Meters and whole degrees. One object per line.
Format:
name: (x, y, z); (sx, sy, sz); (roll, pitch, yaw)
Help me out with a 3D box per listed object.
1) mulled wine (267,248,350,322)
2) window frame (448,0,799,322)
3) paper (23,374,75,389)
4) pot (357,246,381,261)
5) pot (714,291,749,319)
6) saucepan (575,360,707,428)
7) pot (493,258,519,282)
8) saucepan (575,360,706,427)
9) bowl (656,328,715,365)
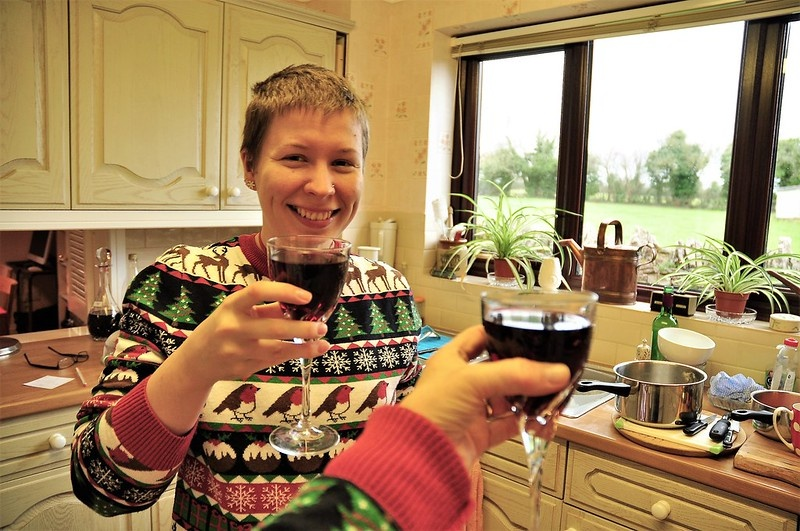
mulled wine: (-0.182, 0.040, 1.075); (0.163, 0.152, 0.117); (0, 8, -13)
window frame: (1.226, -0.557, 2.746); (0.156, 1.114, 1.900); (-6, 10, -40)
paper: (-1.468, 0.489, 2.207); (0.149, 0.019, 0.116); (2, 7, 8)
pot: (-0.185, -0.068, 3.135); (0.125, 0.121, 0.121); (1, 15, 0)
pot: (1.542, 0.183, 2.463); (0.139, 0.103, 0.135); (2, -2, 0)
saucepan: (0.946, 0.491, 2.053); (0.500, 0.165, 0.299); (-4, 6, -20)
pot: (0.599, 0.035, 3.004); (0.119, 0.117, 0.118); (-1, 3, 0)
saucepan: (0.939, 0.494, 2.047); (0.496, 0.163, 0.296); (-4, 6, -21)
bowl: (1.265, 0.356, 2.345); (0.197, 0.100, 0.189); (2, 12, 0)
